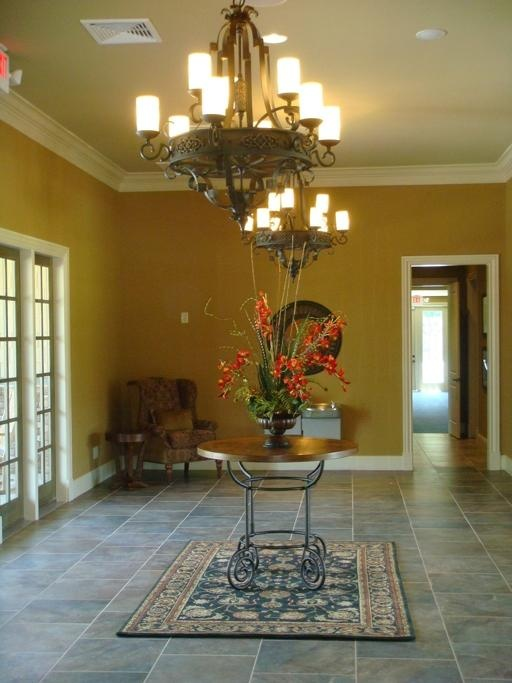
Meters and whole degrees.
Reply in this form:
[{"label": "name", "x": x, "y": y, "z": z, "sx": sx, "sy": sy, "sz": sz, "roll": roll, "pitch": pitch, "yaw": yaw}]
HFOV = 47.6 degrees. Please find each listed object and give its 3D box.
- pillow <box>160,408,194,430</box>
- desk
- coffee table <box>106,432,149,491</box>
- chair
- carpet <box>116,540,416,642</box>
[{"label": "pillow", "x": -0.876, "y": 0.879, "z": 6.692, "sx": 0.376, "sy": 0.200, "sz": 0.109, "roll": 5, "pitch": -17, "yaw": -37}, {"label": "desk", "x": 0.118, "y": 1.010, "z": 3.681, "sx": 1.198, "sy": 0.910, "sz": 1.080, "roll": 0, "pitch": -2, "yaw": -1}, {"label": "coffee table", "x": -1.394, "y": 1.279, "z": 6.363, "sx": 0.499, "sy": 0.535, "sz": 0.471, "roll": 4, "pitch": -11, "yaw": -38}, {"label": "chair", "x": -0.948, "y": 0.944, "z": 6.767, "sx": 0.904, "sy": 1.007, "sz": 0.937, "roll": -1, "pitch": -2, "yaw": 27}, {"label": "carpet", "x": 0.138, "y": 1.368, "z": 3.327, "sx": 1.435, "sy": 0.064, "sz": 1.581, "roll": -2, "pitch": -4, "yaw": 6}]
